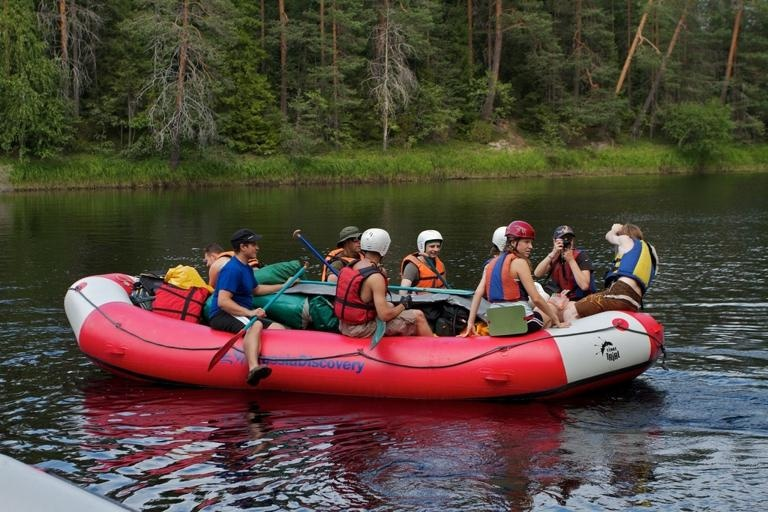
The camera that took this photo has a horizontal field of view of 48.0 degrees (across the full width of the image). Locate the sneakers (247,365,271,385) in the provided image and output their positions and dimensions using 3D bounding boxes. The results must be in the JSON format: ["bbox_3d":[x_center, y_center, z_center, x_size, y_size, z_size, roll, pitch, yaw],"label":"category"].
[{"bbox_3d":[-1.760,1.622,11.691,0.421,0.200,0.139,-27,44,13],"label":"sneakers"}]

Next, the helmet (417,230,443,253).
[{"bbox_3d":[0.727,-0.236,13.310,0.389,0.281,0.482,0,1,-39],"label":"helmet"}]

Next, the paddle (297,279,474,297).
[{"bbox_3d":[-0.052,0.453,12.455,3.018,0.220,0.250,1,-3,5],"label":"paddle"}]

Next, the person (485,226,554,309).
[{"bbox_3d":[1.824,0.223,11.784,1.009,1.423,0.569,3,9,33],"label":"person"}]

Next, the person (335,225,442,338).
[{"bbox_3d":[-0.102,0.381,11.805,1.159,1.535,0.673,-1,7,-3],"label":"person"}]

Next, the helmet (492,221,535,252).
[{"bbox_3d":[1.723,-0.309,11.929,0.717,0.412,0.439,1,7,18],"label":"helmet"}]

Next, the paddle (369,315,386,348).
[{"bbox_3d":[-0.079,1.052,11.753,0.132,0.538,0.031,21,-11,10],"label":"paddle"}]

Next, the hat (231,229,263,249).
[{"bbox_3d":[-1.940,-0.272,11.998,0.437,0.173,0.253,-5,7,-8],"label":"hat"}]

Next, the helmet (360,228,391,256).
[{"bbox_3d":[-0.240,-0.210,11.766,0.504,0.338,0.364,-14,16,-30],"label":"helmet"}]

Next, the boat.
[{"bbox_3d":[-0.647,1.370,12.204,6.188,0.720,2.800,0,1,11],"label":"boat"}]
